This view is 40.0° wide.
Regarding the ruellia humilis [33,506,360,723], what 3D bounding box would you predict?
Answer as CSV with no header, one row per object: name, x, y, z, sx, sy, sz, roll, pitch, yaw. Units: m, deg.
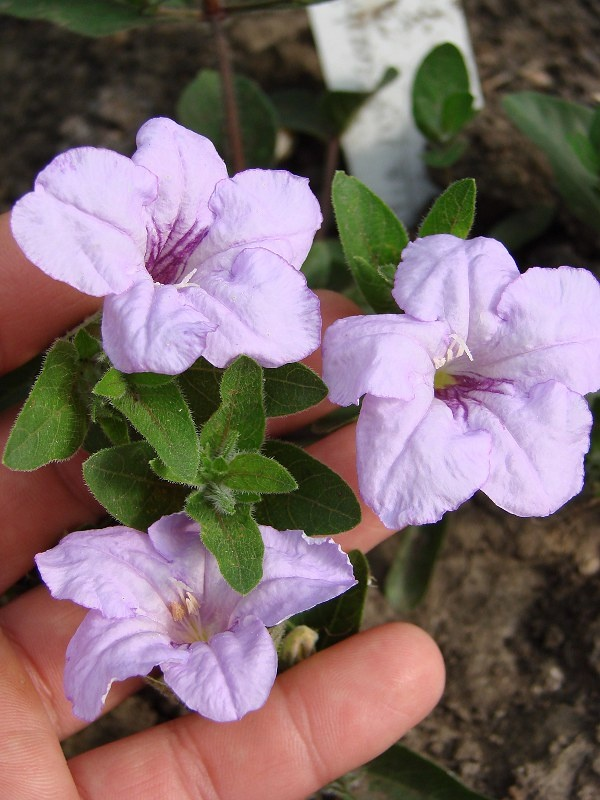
ruellia humilis,-0.186,0.414,1.583,0.587,0.252,0.379,-2,64,2
